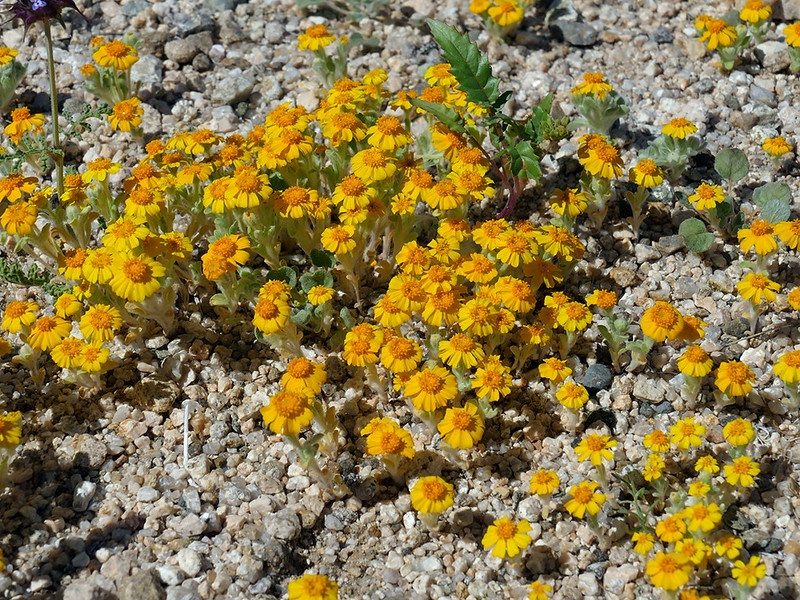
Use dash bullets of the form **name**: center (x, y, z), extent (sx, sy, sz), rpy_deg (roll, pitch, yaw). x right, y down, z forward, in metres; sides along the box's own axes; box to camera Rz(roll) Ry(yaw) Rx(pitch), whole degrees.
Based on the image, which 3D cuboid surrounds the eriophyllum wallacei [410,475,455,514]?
- **eriophyllum wallacei**: center (0.192, 1.155, 5.462), extent (0.245, 0.104, 0.216), rpy_deg (-12, 60, -1)

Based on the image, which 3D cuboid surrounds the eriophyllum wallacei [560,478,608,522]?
- **eriophyllum wallacei**: center (1.128, 1.209, 5.610), extent (0.238, 0.242, 0.233), rpy_deg (35, 85, 29)

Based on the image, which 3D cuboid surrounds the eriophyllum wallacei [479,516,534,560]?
- **eriophyllum wallacei**: center (0.646, 1.386, 5.453), extent (0.284, 0.102, 0.303), rpy_deg (-5, 30, 15)
